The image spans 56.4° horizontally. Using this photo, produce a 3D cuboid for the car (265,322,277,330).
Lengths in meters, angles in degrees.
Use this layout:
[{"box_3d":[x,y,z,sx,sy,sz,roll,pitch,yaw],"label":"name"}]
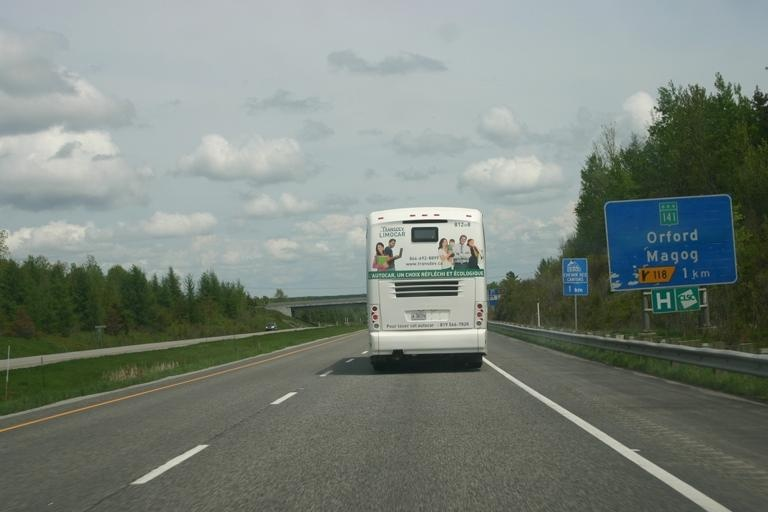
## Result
[{"box_3d":[-22.692,14.229,144.275,0.996,1.142,3.214,0,0,0],"label":"car"}]
